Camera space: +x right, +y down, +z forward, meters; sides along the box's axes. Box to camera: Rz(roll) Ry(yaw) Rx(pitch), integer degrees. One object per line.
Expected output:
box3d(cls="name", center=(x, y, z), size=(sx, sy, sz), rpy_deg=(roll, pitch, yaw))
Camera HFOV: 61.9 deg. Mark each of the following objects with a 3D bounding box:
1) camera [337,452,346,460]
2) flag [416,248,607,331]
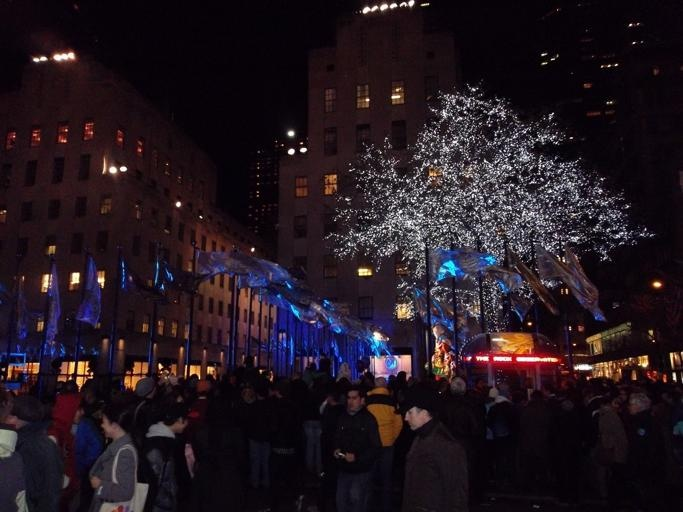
box3d(cls="camera", center=(0.003, 4.048, 11.608), size=(0.178, 0.084, 0.265), rpy_deg=(3, -6, 1))
box3d(cls="flag", center=(7.318, 0.862, 23.087), size=(7.497, 3.652, 3.385), rpy_deg=(12, -24, -33))
